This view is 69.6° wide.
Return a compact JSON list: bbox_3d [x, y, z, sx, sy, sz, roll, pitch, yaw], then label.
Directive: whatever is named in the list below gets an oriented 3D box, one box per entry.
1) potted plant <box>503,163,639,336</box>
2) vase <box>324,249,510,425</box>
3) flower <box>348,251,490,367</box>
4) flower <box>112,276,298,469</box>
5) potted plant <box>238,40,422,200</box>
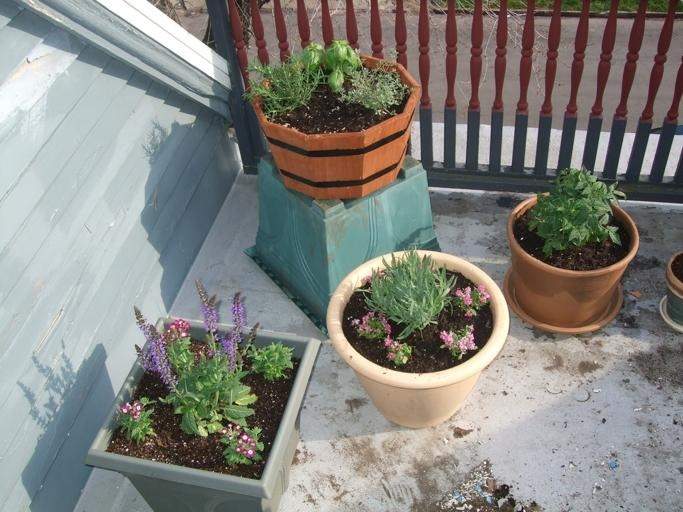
[{"bbox_3d":[1.163,-0.060,2.585,0.573,0.691,0.676,-13,38,2],"label":"potted plant"},{"bbox_3d":[0.369,0.453,2.415,0.797,0.625,0.874,-3,39,9],"label":"vase"},{"bbox_3d":[0.416,0.190,2.182,0.205,0.433,0.447,13,51,-11],"label":"flower"},{"bbox_3d":[-0.531,0.488,2.160,0.745,0.800,0.676,6,38,9],"label":"flower"},{"bbox_3d":[-0.038,-0.509,2.560,0.771,0.423,0.801,-23,56,-14],"label":"potted plant"}]
